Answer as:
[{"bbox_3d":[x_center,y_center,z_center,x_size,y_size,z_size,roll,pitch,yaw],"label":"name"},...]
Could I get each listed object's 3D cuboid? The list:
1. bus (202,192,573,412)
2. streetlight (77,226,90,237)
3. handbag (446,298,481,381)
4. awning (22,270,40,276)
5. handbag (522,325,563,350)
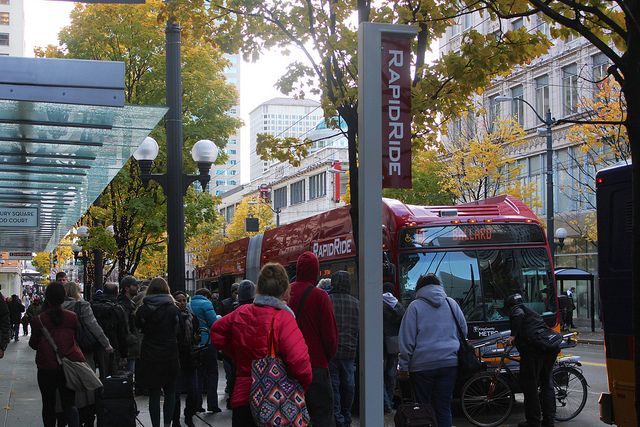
[{"bbox_3d":[0.139,2.110,22.042,3.322,3.567,13.993,2,-7,-23],"label":"bus"},{"bbox_3d":[-7.819,0.585,29.034,0.290,0.413,1.010,11,-14,-19],"label":"streetlight"},{"bbox_3d":[2.384,2.075,14.574,0.646,1.255,0.327,5,-13,7],"label":"handbag"},{"bbox_3d":[-48.187,9.926,146.155,2.904,0.664,2.931,2,-3,-14],"label":"awning"},{"bbox_3d":[4.004,2.128,15.785,0.748,0.325,0.611,-7,-5,1],"label":"handbag"}]
